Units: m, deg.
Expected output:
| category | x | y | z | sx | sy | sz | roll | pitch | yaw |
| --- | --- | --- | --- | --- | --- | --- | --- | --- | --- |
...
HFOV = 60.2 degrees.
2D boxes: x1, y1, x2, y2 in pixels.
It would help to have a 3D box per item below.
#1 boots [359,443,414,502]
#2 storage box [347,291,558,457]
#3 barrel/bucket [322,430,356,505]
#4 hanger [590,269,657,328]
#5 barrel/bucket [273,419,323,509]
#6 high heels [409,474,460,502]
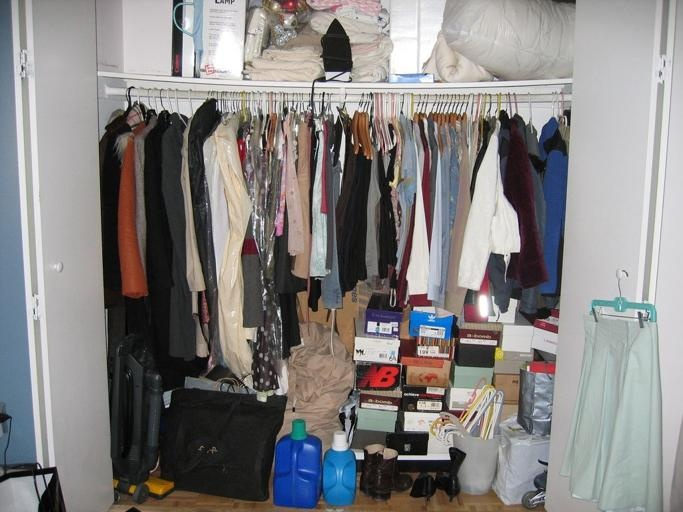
| category | x | y | z | sx | sy | sz | roll | pitch | yaw |
| --- | --- | --- | --- | --- | --- | --- | --- | --- | --- |
| boots | 0.249 | 1.112 | 3.121 | 0.176 | 0.243 | 0.293 | 3 | 8 | 31 |
| storage box | 0.512 | 0.549 | 3.476 | 1.166 | 0.939 | 0.690 | 0 | 1 | 3 |
| barrel/bucket | -0.010 | 1.085 | 3.034 | 0.177 | 0.359 | 0.117 | 1 | 6 | -2 |
| hanger | 1.180 | 0.166 | 2.456 | 0.256 | 0.208 | 0.232 | 6 | 8 | 36 |
| barrel/bucket | -0.226 | 1.060 | 3.026 | 0.230 | 0.418 | 0.115 | 1 | 6 | 0 |
| high heels | 0.489 | 1.184 | 3.055 | 0.182 | 0.093 | 0.143 | -4 | 3 | -23 |
